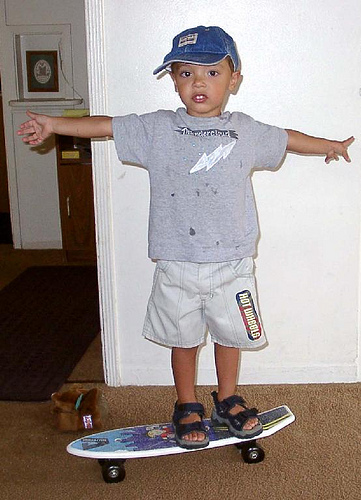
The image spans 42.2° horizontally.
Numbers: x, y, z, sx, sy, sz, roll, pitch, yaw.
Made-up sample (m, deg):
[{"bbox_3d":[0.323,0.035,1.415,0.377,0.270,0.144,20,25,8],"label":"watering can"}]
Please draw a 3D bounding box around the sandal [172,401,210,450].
[{"bbox_3d":[0.032,0.499,1.325,0.060,0.061,0.156,0,0,-5],"label":"sandal"}]

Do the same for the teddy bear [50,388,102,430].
[{"bbox_3d":[-0.380,0.554,1.686,0.160,0.059,0.143,3,42,-19],"label":"teddy bear"}]

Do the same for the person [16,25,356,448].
[{"bbox_3d":[0.076,-0.034,1.343,0.805,1.171,0.341,-8,13,-19],"label":"person"}]

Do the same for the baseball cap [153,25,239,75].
[{"bbox_3d":[0.046,-0.557,1.279,0.187,0.125,0.245,4,17,26],"label":"baseball cap"}]

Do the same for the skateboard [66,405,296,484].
[{"bbox_3d":[0.075,0.497,1.392,0.828,0.142,0.228,-4,6,-13],"label":"skateboard"}]

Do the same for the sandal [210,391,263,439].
[{"bbox_3d":[0.165,0.492,1.409,0.089,0.087,0.231,-3,-3,-28],"label":"sandal"}]
